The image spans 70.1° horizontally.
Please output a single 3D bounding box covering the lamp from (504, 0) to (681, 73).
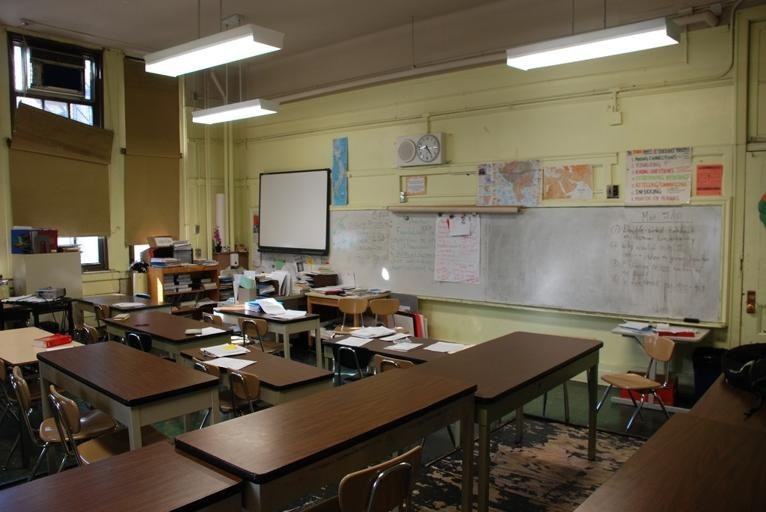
[{"bbox_3d":[2.075,-2.261,5.309,1.556,0.206,0.499,-2,-3,37],"label":"lamp"}]

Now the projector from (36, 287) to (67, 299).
[{"bbox_3d":[-4.648,0.502,7.656,0.183,0.099,0.250,3,1,31],"label":"projector"}]

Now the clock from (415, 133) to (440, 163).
[{"bbox_3d":[0.673,-1.591,8.169,0.415,0.416,0.071,9,17,37],"label":"clock"}]

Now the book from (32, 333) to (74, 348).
[{"bbox_3d":[-3.445,0.892,5.735,0.190,0.051,0.194,7,8,35],"label":"book"}]
